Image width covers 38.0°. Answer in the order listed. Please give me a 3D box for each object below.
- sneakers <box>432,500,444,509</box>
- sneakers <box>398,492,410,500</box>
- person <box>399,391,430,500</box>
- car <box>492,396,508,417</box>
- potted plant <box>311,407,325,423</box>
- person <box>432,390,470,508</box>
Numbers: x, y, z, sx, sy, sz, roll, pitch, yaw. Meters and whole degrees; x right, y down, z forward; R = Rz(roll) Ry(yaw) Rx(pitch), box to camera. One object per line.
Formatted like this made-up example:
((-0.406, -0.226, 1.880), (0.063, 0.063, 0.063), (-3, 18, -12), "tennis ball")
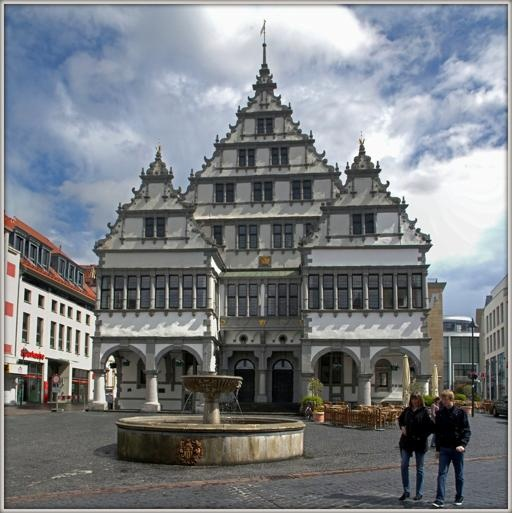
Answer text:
((2.957, 3.996, 12.088), (0.167, 0.128, 0.139), (-3, -14, 13), "sneakers")
((2.525, 4.035, 12.638), (0.145, 0.131, 0.195), (-5, -7, 19), "sneakers")
((2.862, 3.342, 13.218), (0.607, 1.793, 1.193), (-3, -13, 12), "person")
((13.718, 8.367, 41.663), (0.833, 0.850, 1.811), (3, -21, -8), "car")
((2.824, 7.123, 33.509), (0.467, 0.384, 0.500), (1, -18, 0), "potted plant")
((3.287, 3.231, 12.689), (0.869, 1.879, 0.582), (6, -14, -24), "person")
